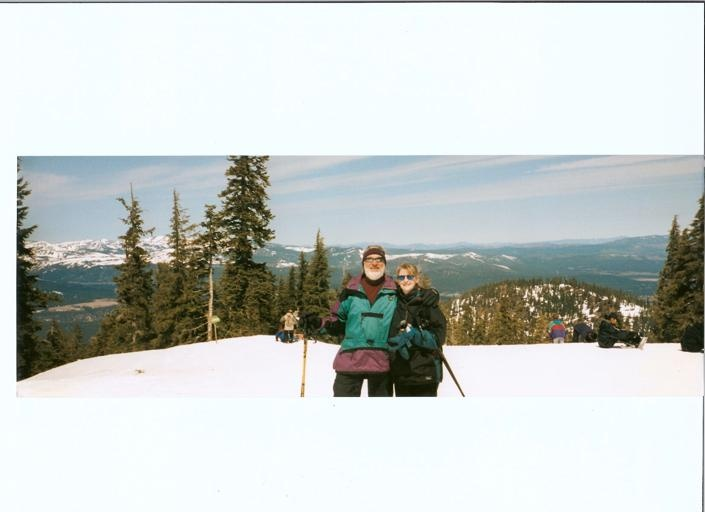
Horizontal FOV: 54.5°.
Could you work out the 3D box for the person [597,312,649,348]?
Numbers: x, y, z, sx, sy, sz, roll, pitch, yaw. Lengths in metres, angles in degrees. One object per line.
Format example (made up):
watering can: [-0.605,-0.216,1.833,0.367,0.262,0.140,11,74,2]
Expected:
person: [9.761,2.701,25.180,1.455,1.189,2.044,2,4,20]

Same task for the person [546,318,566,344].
person: [7.747,2.871,25.990,0.549,1.019,0.823,1,4,11]

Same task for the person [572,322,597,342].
person: [8.874,2.978,26.236,0.829,0.968,1.782,2,4,18]
